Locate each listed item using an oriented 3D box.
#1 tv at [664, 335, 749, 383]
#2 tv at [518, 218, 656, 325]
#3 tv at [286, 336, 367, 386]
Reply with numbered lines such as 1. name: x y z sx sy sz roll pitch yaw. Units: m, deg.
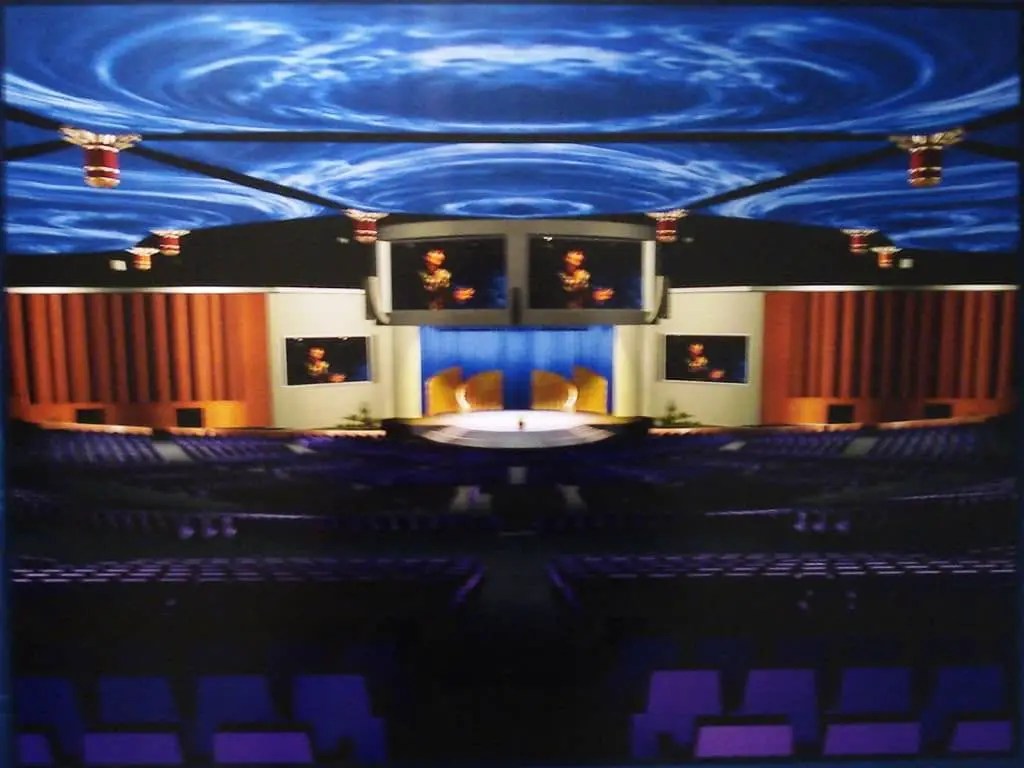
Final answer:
1. tv: 3.682 -0.469 22.212 1.680 0.511 0.154 2 2 31
2. tv: 1.202 -1.958 20.755 3.734 1.286 0.401 -1 2 -25
3. tv: -3.473 -0.430 22.169 1.819 0.526 0.204 1 -2 -28
